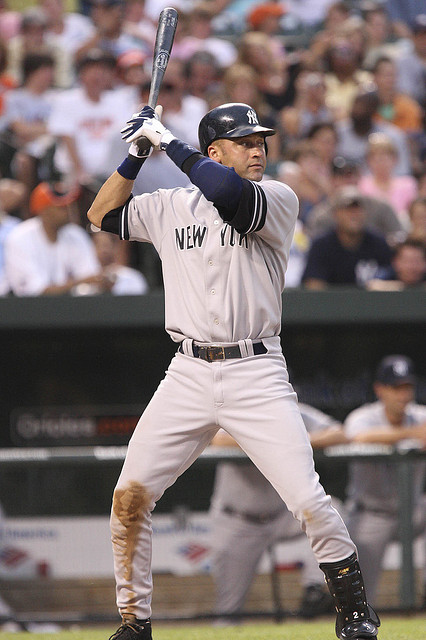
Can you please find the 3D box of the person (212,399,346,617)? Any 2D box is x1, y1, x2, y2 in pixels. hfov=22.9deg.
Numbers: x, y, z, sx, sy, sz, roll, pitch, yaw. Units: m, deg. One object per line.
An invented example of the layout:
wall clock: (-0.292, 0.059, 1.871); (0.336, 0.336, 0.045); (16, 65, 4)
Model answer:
person: (0.215, 0.888, 4.833); (0.617, 0.939, 0.258); (-3, -16, -7)

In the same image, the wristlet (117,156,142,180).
wristlet: (-0.296, -0.529, 3.778); (0.080, 0.082, 0.081); (28, 18, -3)

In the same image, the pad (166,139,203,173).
pad: (-0.102, -0.566, 3.601); (0.134, 0.085, 0.056); (49, 15, 22)

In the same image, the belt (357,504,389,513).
belt: (0.771, 0.917, 5.076); (0.163, 0.031, 0.012); (11, 31, 32)

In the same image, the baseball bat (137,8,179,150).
baseball bat: (-0.192, -0.871, 3.892); (0.158, 0.528, 0.156); (-7, 17, -15)

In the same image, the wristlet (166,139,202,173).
wristlet: (-0.093, -0.560, 3.580); (0.088, 0.057, 0.133); (-32, 66, -17)

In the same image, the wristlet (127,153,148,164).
wristlet: (-0.272, -0.562, 3.718); (0.044, 0.028, 0.041); (22, 15, 4)
